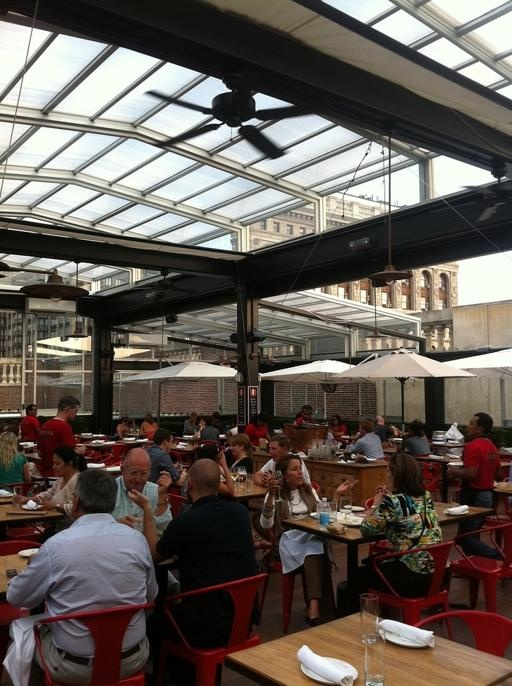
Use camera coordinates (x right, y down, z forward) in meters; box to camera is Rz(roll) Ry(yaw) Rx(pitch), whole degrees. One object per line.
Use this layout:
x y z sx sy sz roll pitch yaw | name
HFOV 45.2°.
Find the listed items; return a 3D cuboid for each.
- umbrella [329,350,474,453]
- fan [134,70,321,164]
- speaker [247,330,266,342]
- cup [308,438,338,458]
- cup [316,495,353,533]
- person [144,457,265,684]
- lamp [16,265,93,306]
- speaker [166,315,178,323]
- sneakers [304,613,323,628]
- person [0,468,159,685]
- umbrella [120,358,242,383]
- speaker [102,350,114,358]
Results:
1.906 0.828 8.160 1.641 0.955 1.554 -1 0 16 | umbrella
-0.264 -1.800 4.704 1.176 0.570 0.965 -1 -2 -17 | fan
0.004 -0.129 12.417 0.263 0.222 0.308 4 -5 33 | speaker
1.050 1.606 9.409 0.306 0.200 0.298 0 0 0 | cup
0.598 1.274 4.626 0.238 0.324 0.211 6 -14 -22 | cup
-0.258 1.215 3.156 0.586 1.200 0.504 -2 -3 -9 | person
-4.460 -1.310 13.355 1.398 0.616 1.299 -2 -9 10 | lamp
-2.029 -0.637 14.866 0.234 0.193 0.293 7 -12 -4 | speaker
0.411 2.003 4.418 0.063 0.061 0.164 6 -18 -27 | sneakers
-0.788 1.043 2.666 0.648 0.913 0.428 -2 -3 -2 | person
-1.490 0.608 13.685 1.268 0.422 3.186 0 -3 -32 | umbrella
-4.397 0.325 18.417 0.415 0.191 0.264 5 2 19 | speaker
